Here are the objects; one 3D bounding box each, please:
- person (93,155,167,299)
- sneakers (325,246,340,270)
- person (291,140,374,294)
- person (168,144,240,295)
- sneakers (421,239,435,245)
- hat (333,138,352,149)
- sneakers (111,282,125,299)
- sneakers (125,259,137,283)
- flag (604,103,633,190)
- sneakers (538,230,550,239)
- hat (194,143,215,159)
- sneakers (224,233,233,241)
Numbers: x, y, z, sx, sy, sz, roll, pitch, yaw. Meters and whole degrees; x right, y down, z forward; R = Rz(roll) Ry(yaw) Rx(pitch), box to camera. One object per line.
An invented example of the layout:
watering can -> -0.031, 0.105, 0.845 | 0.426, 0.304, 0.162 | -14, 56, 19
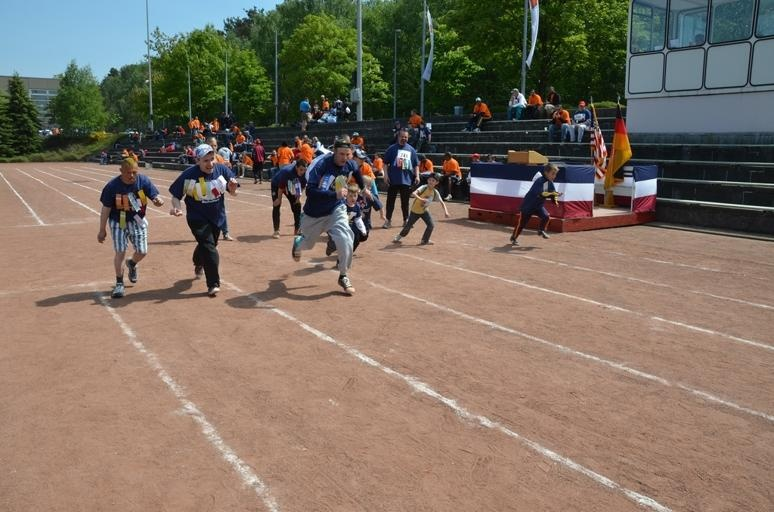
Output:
person -> -4.409, -0.477, 10.136 | 0.960, 2.373, 0.748 | -5, 15, -20
sneakers -> -1.110, 0.067, 12.064 | 0.158, 0.193, 0.497 | -13, 50, -17
person -> -1.015, -0.683, 10.265 | 0.982, 2.636, 0.713 | -1, 15, -2
person -> -3.109, -0.581, 10.164 | 1.060, 2.534, 0.747 | -5, 15, -17
sneakers -> 1.019, -0.318, 14.452 | 0.334, 0.128, 0.113 | -4, 28, -27
hat -> -0.748, -1.831, 9.820 | 0.205, 0.145, 0.199 | 6, 12, 25
sneakers -> -4.669, 0.607, 10.272 | 0.161, 0.153, 0.378 | -1, 6, -30
sneakers -> -4.694, 0.289, 10.853 | 0.192, 0.415, 0.150 | 5, 23, 30
flag -> 7.315, -3.186, 18.580 | 0.663, 2.245, 0.889 | 5, 15, 20
sneakers -> 4.046, -0.551, 15.139 | 0.353, 0.242, 0.165 | -2, 42, 20
hat -> -3.108, -1.760, 9.952 | 0.248, 0.169, 0.348 | -11, 1, -33
sneakers -> -4.100, -0.453, 15.214 | 0.404, 0.161, 0.143 | 5, 13, 40
